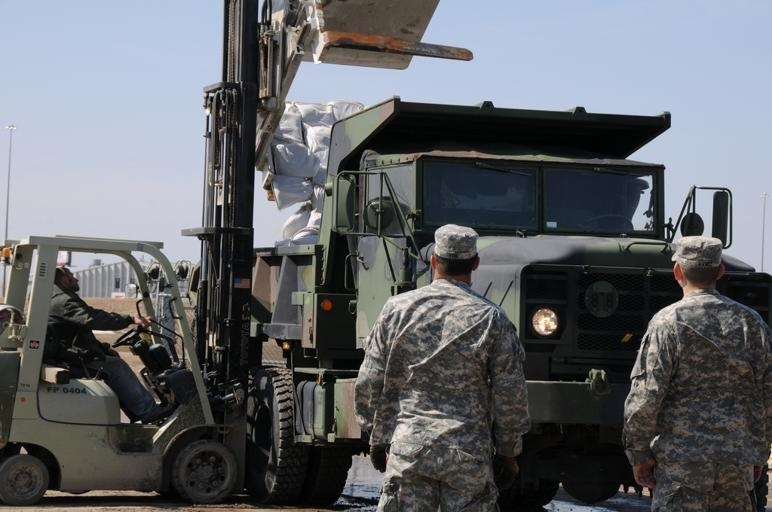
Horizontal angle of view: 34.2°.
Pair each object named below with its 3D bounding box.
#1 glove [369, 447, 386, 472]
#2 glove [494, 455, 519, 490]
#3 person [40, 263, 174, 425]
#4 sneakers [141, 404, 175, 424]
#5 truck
[{"bbox_3d":[-0.044,1.508,9.370,0.150,0.189,0.172,-2,4,-8],"label":"glove"},{"bbox_3d":[0.926,1.626,9.325,0.110,0.286,0.204,7,15,-27],"label":"glove"},{"bbox_3d":[-2.984,0.955,13.297,1.226,1.624,0.599,6,-9,-31],"label":"person"},{"bbox_3d":[-2.455,1.715,13.582,0.412,0.168,0.134,-17,7,-16],"label":"sneakers"},{"bbox_3d":[0.590,0.276,13.480,3.047,2.801,5.896,2,-5,-22],"label":"truck"}]
